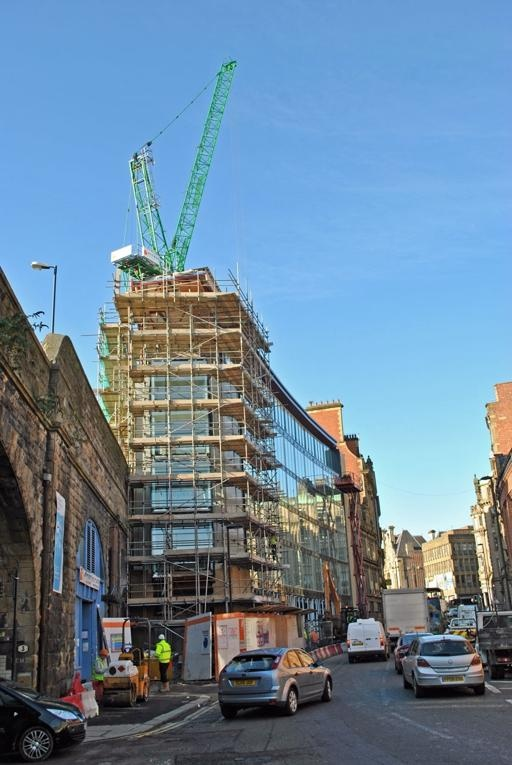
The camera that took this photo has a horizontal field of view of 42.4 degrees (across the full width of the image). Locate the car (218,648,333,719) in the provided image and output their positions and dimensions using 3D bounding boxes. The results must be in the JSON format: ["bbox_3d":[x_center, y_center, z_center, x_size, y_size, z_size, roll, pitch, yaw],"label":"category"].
[{"bbox_3d":[0.501,5.920,13.359,1.241,1.068,2.756,-10,-15,26],"label":"car"}]

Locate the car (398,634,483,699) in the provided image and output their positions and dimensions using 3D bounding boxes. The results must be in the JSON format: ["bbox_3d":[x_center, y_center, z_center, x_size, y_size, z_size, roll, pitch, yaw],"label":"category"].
[{"bbox_3d":[4.042,6.238,14.501,1.145,0.996,2.090,-1,-13,3],"label":"car"}]
